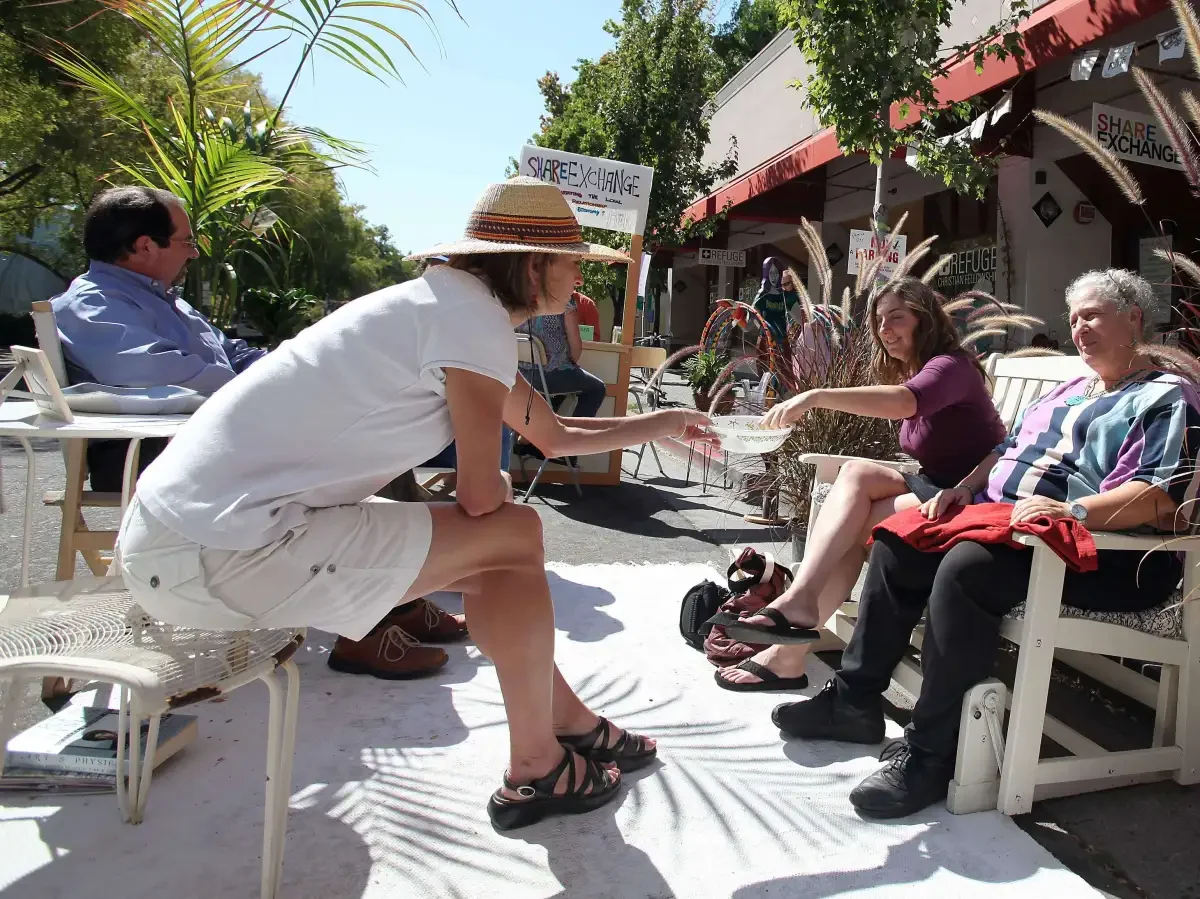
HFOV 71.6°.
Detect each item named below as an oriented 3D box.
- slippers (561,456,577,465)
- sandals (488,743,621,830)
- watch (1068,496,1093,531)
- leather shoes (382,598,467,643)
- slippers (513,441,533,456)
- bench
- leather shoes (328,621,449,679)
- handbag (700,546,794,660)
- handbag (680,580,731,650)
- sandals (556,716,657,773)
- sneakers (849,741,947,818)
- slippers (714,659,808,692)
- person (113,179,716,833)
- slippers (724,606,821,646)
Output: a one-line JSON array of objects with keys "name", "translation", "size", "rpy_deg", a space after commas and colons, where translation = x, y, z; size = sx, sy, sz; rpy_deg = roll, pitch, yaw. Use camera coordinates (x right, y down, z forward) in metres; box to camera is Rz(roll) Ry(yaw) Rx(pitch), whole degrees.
[{"name": "slippers", "translation": [-0.255, 0.094, 6.481], "size": [0.069, 0.092, 0.080], "rpy_deg": [0, -4, 8]}, {"name": "sandals", "translation": [-0.130, 0.945, 2.358], "size": [0.341, 0.159, 0.178], "rpy_deg": [-7, 6, -20]}, {"name": "watch", "translation": [1.381, 0.185, 2.394], "size": [0.059, 0.097, 0.091], "rpy_deg": [-5, -25, 12]}, {"name": "leather shoes", "translation": [-0.696, 0.716, 3.482], "size": [0.445, 0.185, 0.173], "rpy_deg": [3, 8, -4]}, {"name": "slippers", "translation": [-0.611, -0.006, 6.599], "size": [0.154, 0.142, 0.131], "rpy_deg": [0, 10, 1]}, {"name": "bench", "translation": [1.319, 0.285, 3.093], "size": [1.298, 1.532, 1.173], "rpy_deg": [-2, 7, -5]}, {"name": "leather shoes", "translation": [-0.805, 0.760, 3.108], "size": [0.379, 0.182, 0.187], "rpy_deg": [1, 5, -3]}, {"name": "handbag", "translation": [0.616, 0.596, 3.372], "size": [0.208, 0.257, 0.654], "rpy_deg": [-7, 11, 36]}, {"name": "handbag", "translation": [0.433, 0.685, 3.420], "size": [0.205, 0.260, 0.099], "rpy_deg": [24, -17, -16]}, {"name": "sandals", "translation": [0.039, 0.915, 2.555], "size": [0.347, 0.120, 0.127], "rpy_deg": [2, 3, -13]}, {"name": "sneakers", "translation": [0.879, 0.957, 2.409], "size": [0.300, 0.180, 0.102], "rpy_deg": [-4, 12, -24]}, {"name": "slippers", "translation": [0.610, 0.857, 3.094], "size": [0.260, 0.085, 0.141], "rpy_deg": [3, -3, -2]}, {"name": "person", "translation": [-0.484, 0.170, 2.191], "size": [1.379, 1.753, 0.521], "rpy_deg": [-6, 13, -33]}, {"name": "slippers", "translation": [0.565, 0.584, 2.778], "size": [0.341, 0.103, 0.128], "rpy_deg": [8, -11, -14]}]
